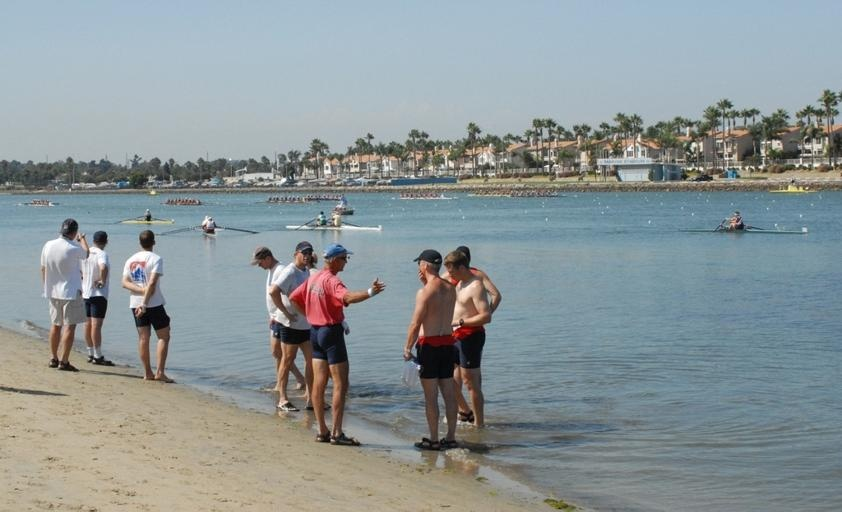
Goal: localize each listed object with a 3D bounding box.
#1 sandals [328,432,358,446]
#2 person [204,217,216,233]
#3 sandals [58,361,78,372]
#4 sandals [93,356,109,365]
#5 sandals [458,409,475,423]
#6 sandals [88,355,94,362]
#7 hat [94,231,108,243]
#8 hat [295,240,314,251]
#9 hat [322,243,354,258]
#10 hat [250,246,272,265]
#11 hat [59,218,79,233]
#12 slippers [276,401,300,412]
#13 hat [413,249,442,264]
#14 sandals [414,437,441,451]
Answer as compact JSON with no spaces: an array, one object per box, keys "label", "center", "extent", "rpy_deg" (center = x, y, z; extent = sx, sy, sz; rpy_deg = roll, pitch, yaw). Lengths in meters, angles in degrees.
[{"label":"sandals","center":[-1.813,4.271,27.251],"extent":[0.719,0.252,0.251],"rpy_deg":[-1,9,-6]},{"label":"person","center":[-12.533,-1.933,69.433],"extent":[0.702,1.019,2.119],"rpy_deg":[-3,14,-12]},{"label":"sandals","center":[-8.929,2.797,29.647],"extent":[0.587,0.212,0.199],"rpy_deg":[3,6,-13]},{"label":"sandals","center":[-8.321,2.733,30.544],"extent":[0.458,0.174,0.182],"rpy_deg":[3,12,-15]},{"label":"sandals","center":[1.069,3.881,28.361],"extent":[0.175,0.181,0.495],"rpy_deg":[-1,15,-9]},{"label":"sandals","center":[-8.662,2.694,30.681],"extent":[0.151,0.166,0.268],"rpy_deg":[2,-2,-12]},{"label":"hat","center":[-8.108,-0.523,29.671],"extent":[0.298,0.199,0.368],"rpy_deg":[1,21,-5]},{"label":"hat","center":[-2.804,-0.269,28.004],"extent":[0.284,0.178,0.364],"rpy_deg":[6,-7,-27]},{"label":"hat","center":[-1.881,-0.143,26.859],"extent":[0.532,0.193,0.332],"rpy_deg":[-3,6,-31]},{"label":"hat","center":[-3.989,-0.030,29.047],"extent":[0.561,0.294,0.367],"rpy_deg":[-5,18,21]},{"label":"hat","center":[-8.722,-0.738,29.107],"extent":[0.436,0.282,0.518],"rpy_deg":[2,20,-4]},{"label":"slippers","center":[-3.282,3.707,28.755],"extent":[0.248,0.122,0.464],"rpy_deg":[-5,6,-45]},{"label":"hat","center":[0.139,-0.012,26.903],"extent":[0.527,0.247,0.363],"rpy_deg":[3,4,23]},{"label":"sandals","center":[0.145,4.388,27.312],"extent":[0.558,0.192,0.283],"rpy_deg":[6,7,38]}]
